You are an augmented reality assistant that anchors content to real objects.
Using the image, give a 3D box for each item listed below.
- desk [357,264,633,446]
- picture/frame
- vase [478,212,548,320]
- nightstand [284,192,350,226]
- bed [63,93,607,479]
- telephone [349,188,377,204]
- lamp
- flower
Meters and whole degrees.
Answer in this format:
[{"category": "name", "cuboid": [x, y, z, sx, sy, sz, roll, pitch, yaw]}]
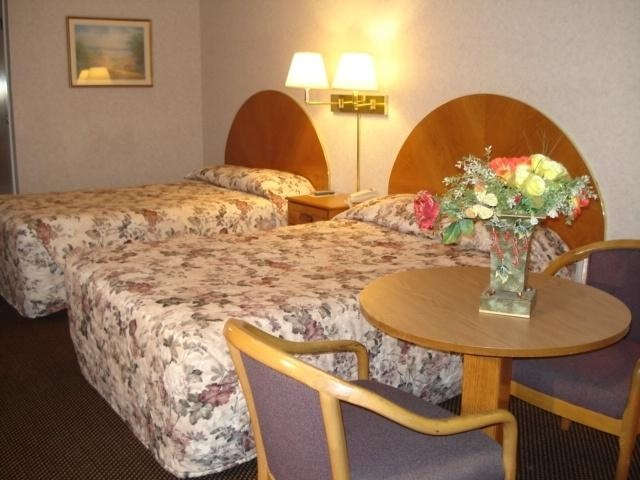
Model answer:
[{"category": "desk", "cuboid": [0.610, 0.270, 1.933, 0.708, 0.516, 0.709, -14, 28, -26]}, {"category": "picture/frame", "cuboid": [-2.490, -2.199, 5.921, 0.910, 0.746, 0.038, -5, 10, -31]}, {"category": "vase", "cuboid": [0.720, 0.080, 1.949, 0.244, 0.375, 0.258, -9, 11, -39]}, {"category": "nightstand", "cuboid": [0.055, -0.293, 4.472, 0.334, 0.339, 0.337, -11, 19, -39]}, {"category": "bed", "cuboid": [0.035, 0.228, 3.301, 2.749, 1.765, 2.048, -10, 22, -34]}, {"category": "telephone", "cuboid": [0.348, -0.361, 4.220, 0.159, 0.049, 0.138, -15, 23, -22]}, {"category": "lamp", "cuboid": [0.156, -1.333, 4.309, 1.053, 0.629, 0.589, 13, 21, 35]}, {"category": "flower", "cuboid": [0.769, -0.127, 2.057, 0.551, 0.673, 0.681, 6, 14, 26]}]
